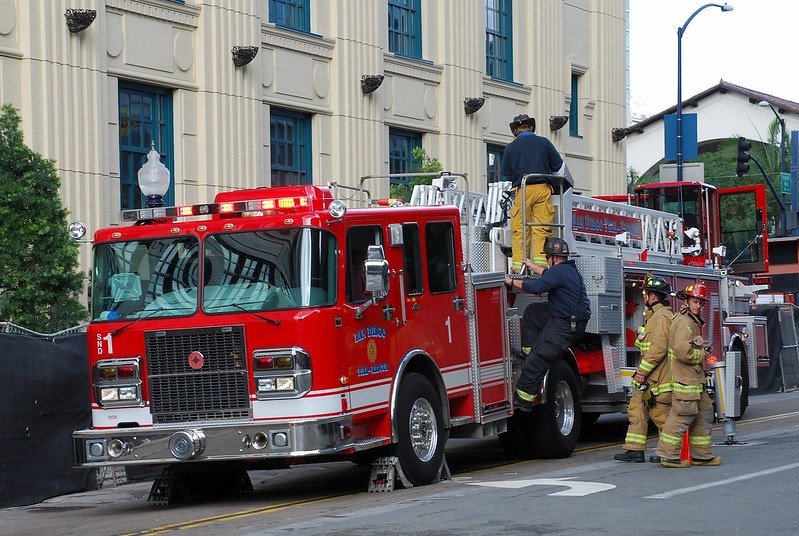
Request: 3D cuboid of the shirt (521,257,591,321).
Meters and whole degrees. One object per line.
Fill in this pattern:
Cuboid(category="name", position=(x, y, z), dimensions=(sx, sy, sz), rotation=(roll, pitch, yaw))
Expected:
Cuboid(category="shirt", position=(2.430, 0.281, 17.299), dimensions=(1.229, 1.020, 0.967), rotation=(9, 12, 32))

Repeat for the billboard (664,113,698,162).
Cuboid(category="billboard", position=(8.257, -3.923, 32.555), dimensions=(0.955, 1.371, 0.157), rotation=(0, 15, 16))

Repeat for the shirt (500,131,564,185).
Cuboid(category="shirt", position=(2.140, -1.819, 18.190), dimensions=(0.981, 0.929, 0.674), rotation=(-6, 0, 18))

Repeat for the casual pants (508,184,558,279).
Cuboid(category="casual pants", position=(2.140, -0.598, 17.772), dimensions=(0.742, 1.546, 0.411), rotation=(2, -22, 6))

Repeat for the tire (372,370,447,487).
Cuboid(category="tire", position=(0.068, 2.230, 15.185), dimensions=(0.412, 1.373, 1.200), rotation=(-5, -20, 24))

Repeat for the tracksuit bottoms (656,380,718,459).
Cuboid(category="tracksuit bottoms", position=(4.185, 2.243, 16.253), dimensions=(1.052, 1.408, 0.517), rotation=(4, -6, -33))
